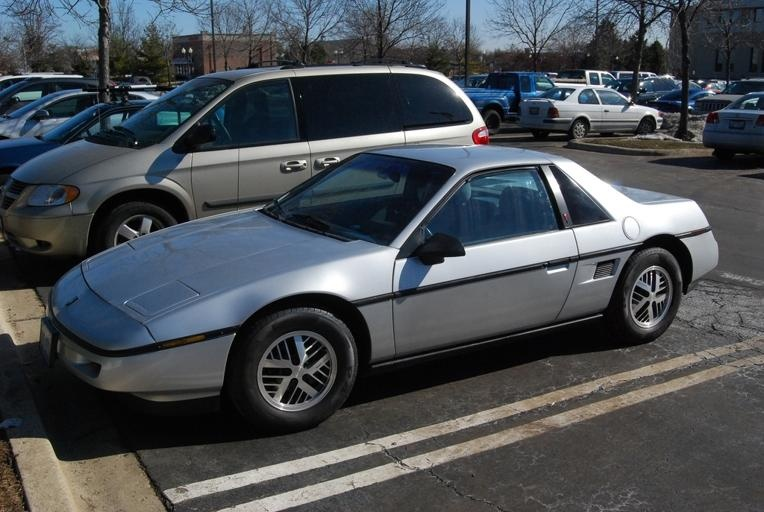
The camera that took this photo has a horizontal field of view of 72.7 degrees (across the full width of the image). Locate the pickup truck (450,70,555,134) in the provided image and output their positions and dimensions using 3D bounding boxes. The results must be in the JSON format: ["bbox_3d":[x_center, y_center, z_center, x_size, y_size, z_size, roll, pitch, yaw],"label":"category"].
[{"bbox_3d":[5.066,-6.851,21.995,4.758,1.906,2.564,-13,20,-20],"label":"pickup truck"}]

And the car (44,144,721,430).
[{"bbox_3d":[0.041,0.122,4.341,5.160,1.845,1.265,-7,18,-22],"label":"car"}]

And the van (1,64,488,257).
[{"bbox_3d":[-1.877,-1.437,7.576,5.891,1.903,2.641,-6,14,-23],"label":"van"}]

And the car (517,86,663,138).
[{"bbox_3d":[7.700,-5.562,19.994,3.835,1.323,1.835,-5,13,-23],"label":"car"}]
